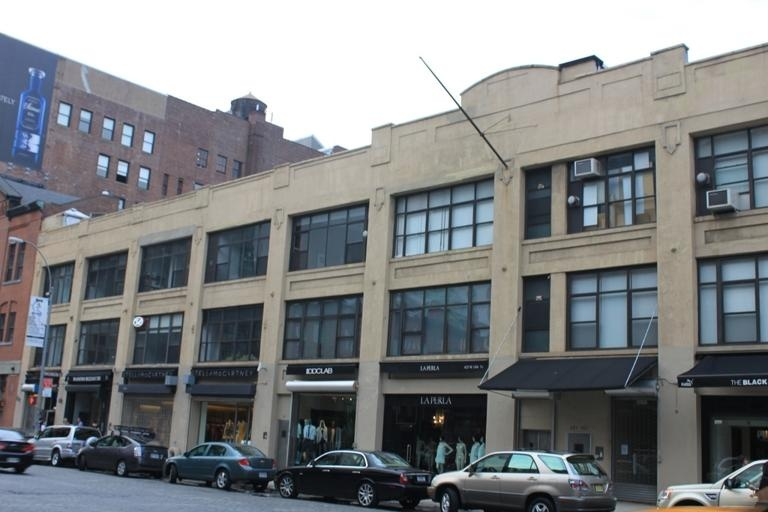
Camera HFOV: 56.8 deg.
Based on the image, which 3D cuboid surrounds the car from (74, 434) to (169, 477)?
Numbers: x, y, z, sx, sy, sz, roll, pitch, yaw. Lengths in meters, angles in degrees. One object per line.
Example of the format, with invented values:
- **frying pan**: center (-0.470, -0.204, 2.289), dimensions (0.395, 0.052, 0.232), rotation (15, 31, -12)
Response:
- **car**: center (-12.435, 9.585, 33.903), dimensions (4.472, 1.870, 0.979), rotation (-9, -23, 27)

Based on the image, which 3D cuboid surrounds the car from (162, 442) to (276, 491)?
- **car**: center (-7.195, 9.260, 31.173), dimensions (4.721, 1.957, 0.961), rotation (-7, -22, 23)

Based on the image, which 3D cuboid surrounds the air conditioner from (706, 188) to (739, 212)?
- **air conditioner**: center (13.007, -2.178, 27.400), dimensions (0.952, 0.834, 1.005), rotation (-8, -17, 41)

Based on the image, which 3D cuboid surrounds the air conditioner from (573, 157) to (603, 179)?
- **air conditioner**: center (8.666, -3.568, 30.299), dimensions (1.372, 0.951, 0.840), rotation (-10, -23, 38)

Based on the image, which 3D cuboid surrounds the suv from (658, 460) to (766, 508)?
- **suv**: center (10.393, 7.224, 22.475), dimensions (2.764, 1.343, 1.164), rotation (-17, -28, 42)

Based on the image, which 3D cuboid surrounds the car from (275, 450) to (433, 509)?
- **car**: center (-1.226, 8.702, 27.661), dimensions (5.978, 2.051, 0.826), rotation (-9, -23, 28)
